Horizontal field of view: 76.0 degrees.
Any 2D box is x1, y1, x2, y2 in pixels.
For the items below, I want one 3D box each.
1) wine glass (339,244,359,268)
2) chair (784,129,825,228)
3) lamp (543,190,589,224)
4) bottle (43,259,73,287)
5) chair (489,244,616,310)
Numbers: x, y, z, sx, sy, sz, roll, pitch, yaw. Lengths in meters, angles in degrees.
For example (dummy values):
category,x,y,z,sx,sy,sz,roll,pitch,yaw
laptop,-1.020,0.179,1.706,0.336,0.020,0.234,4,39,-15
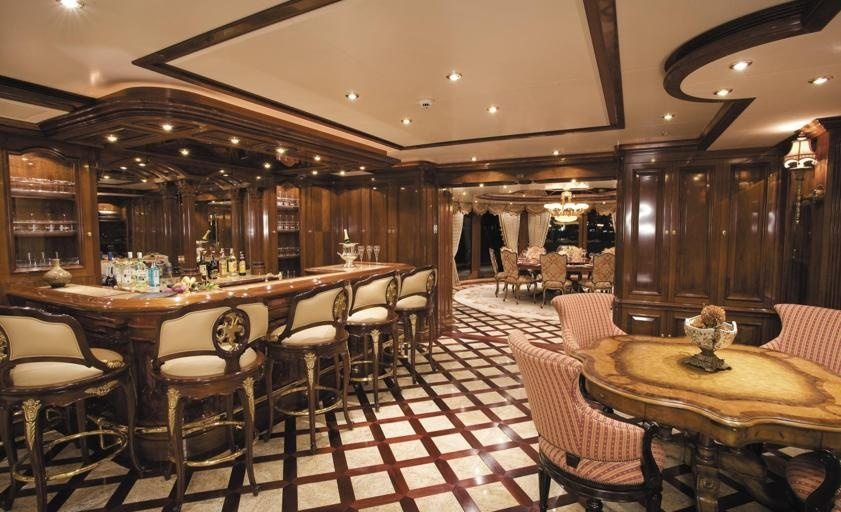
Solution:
category,x,y,z,sx,sy,sz,roll,pitch,yaw
wine glass,-1.045,-0.005,7.962,0.464,0.304,0.302,-1,8,-11
chair,4.265,-0.881,5.977,0.348,1.043,0.653,6,12,34
lamp,3.308,-1.073,12.135,1.104,0.731,0.988,3,15,16
bottle,-4.043,0.173,6.112,0.386,0.327,0.363,0,4,-15
chair,2.913,0.404,11.216,1.815,0.664,1.685,-1,3,-29
